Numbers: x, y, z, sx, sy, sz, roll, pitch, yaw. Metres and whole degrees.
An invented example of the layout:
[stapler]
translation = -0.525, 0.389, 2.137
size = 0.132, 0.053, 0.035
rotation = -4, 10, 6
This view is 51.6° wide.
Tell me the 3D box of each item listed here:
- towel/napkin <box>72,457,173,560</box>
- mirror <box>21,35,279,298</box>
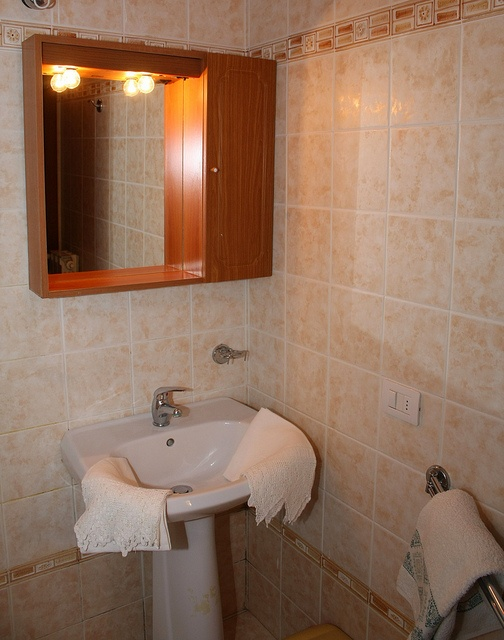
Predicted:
[towel/napkin]
translation = -0.312, 0.413, 1.208
size = 0.201, 0.142, 0.339
rotation = -7, 14, -24
[mirror]
translation = -0.291, -0.435, 1.417
size = 0.558, 0.693, 0.193
rotation = -4, 8, -26
